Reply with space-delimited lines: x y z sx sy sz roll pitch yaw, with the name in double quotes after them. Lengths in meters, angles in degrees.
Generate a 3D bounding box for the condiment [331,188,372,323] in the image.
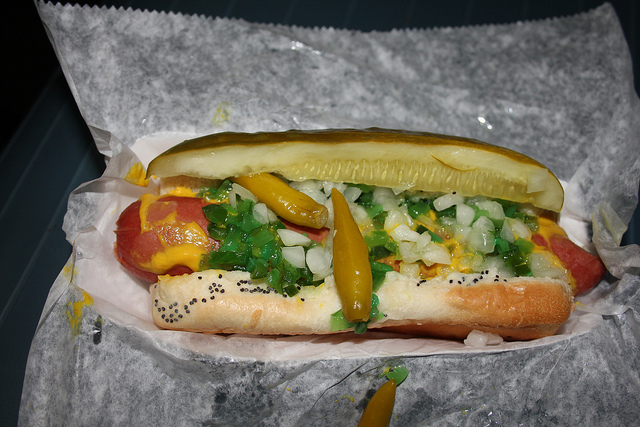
0.116 0.212 3.042 0.151 0.191 0.642 -7 74 -5 "condiment"

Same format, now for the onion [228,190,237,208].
-0.460 -0.078 3.151 0.018 0.044 0.080 2 87 -45 "onion"

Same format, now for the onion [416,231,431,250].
0.533 0.142 3.124 0.092 0.034 0.062 -34 67 -19 "onion"

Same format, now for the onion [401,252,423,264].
0.475 0.238 3.130 0.082 0.022 0.053 -14 56 -1 "onion"

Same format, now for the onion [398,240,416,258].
0.445 0.189 3.128 0.084 0.041 0.078 11 61 4 "onion"

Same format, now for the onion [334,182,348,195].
0.115 -0.128 3.138 0.066 0.018 0.052 11 78 -22 "onion"

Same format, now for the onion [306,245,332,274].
-0.008 0.233 3.086 0.129 0.078 0.136 -1 61 -3 "onion"

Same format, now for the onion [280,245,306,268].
-0.134 0.223 3.073 0.117 0.069 0.098 -4 61 -5 "onion"

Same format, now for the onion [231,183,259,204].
-0.395 -0.107 3.130 0.171 0.059 0.035 27 29 9 "onion"

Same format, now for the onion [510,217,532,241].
1.072 0.096 3.275 0.131 0.044 0.084 46 62 -4 "onion"

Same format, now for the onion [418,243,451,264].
0.594 0.212 3.140 0.173 0.066 0.099 2 60 -1 "onion"

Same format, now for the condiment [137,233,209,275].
-0.735 0.225 3.023 0.298 0.114 0.178 -4 95 4 "condiment"

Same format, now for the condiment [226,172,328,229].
-0.263 -0.073 3.137 0.638 0.176 0.180 32 63 11 "condiment"

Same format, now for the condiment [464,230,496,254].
0.843 0.153 3.173 0.159 0.082 0.096 7 60 2 "condiment"

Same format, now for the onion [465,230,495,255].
0.839 0.153 3.176 0.153 0.088 0.096 9 60 3 "onion"
